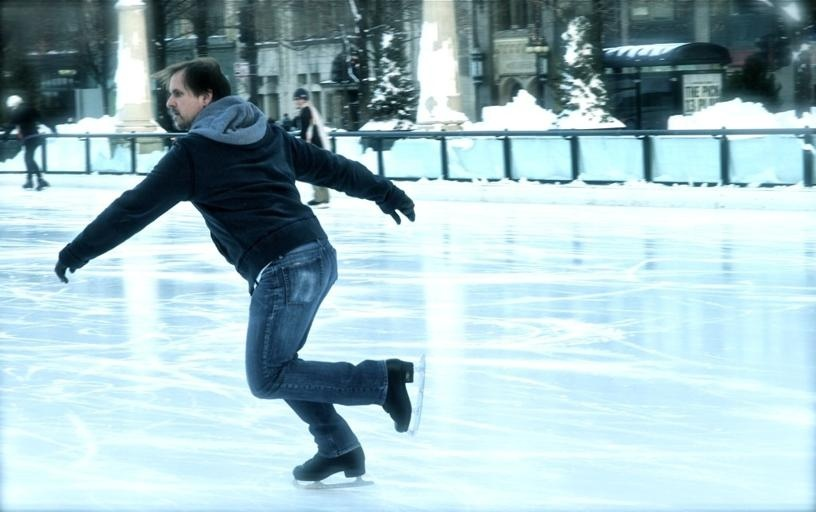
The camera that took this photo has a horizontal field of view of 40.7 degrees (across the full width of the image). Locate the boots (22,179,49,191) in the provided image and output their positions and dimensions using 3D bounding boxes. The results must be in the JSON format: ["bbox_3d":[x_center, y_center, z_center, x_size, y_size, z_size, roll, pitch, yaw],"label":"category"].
[{"bbox_3d":[-7.796,-1.467,22.998,0.647,0.137,0.335,5,-16,4],"label":"boots"}]

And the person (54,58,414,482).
[{"bbox_3d":[-0.882,0.219,6.764,1.856,2.390,0.696,-3,14,1],"label":"person"}]

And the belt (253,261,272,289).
[{"bbox_3d":[-0.861,0.113,6.512,0.134,0.157,0.031,-2,14,4],"label":"belt"}]
